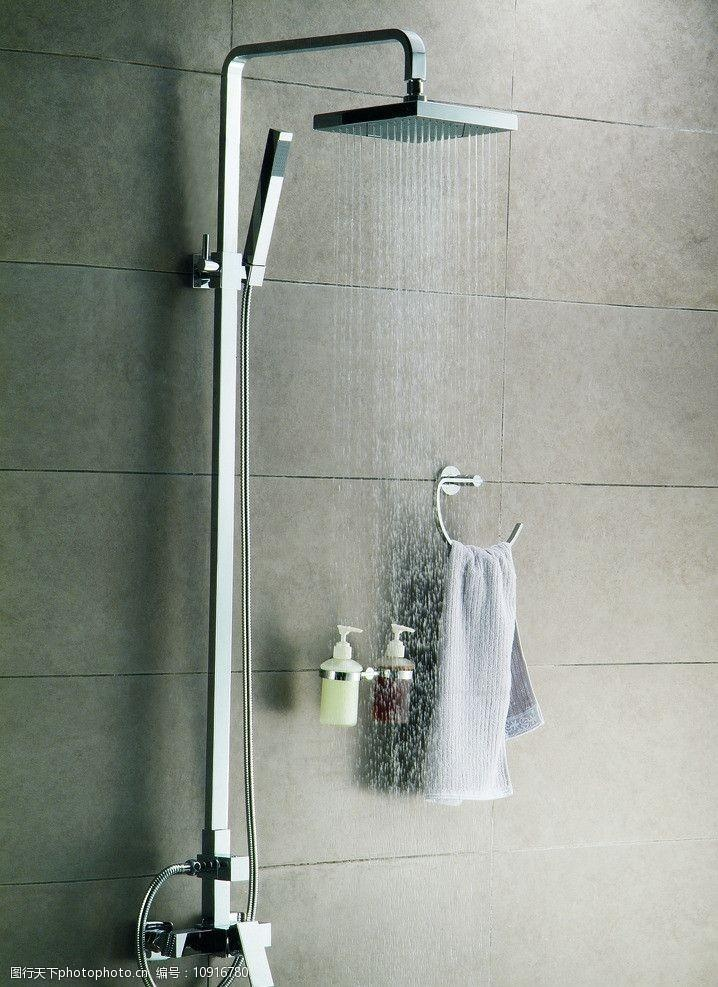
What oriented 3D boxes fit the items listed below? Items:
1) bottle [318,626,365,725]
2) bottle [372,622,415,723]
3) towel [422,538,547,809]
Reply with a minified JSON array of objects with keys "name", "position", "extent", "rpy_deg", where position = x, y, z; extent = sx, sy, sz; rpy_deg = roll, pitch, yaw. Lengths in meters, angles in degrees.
[{"name":"bottle","position":[-0.026,0.276,2.142],"extent":[0.065,0.137,0.081],"rpy_deg":[2,-16,-2]},{"name":"bottle","position":[0.051,0.273,2.175],"extent":[0.062,0.144,0.082],"rpy_deg":[0,-16,6]},{"name":"towel","position":[0.193,0.285,2.183],"extent":[0.150,0.457,0.084],"rpy_deg":[6,-37,-3]}]
